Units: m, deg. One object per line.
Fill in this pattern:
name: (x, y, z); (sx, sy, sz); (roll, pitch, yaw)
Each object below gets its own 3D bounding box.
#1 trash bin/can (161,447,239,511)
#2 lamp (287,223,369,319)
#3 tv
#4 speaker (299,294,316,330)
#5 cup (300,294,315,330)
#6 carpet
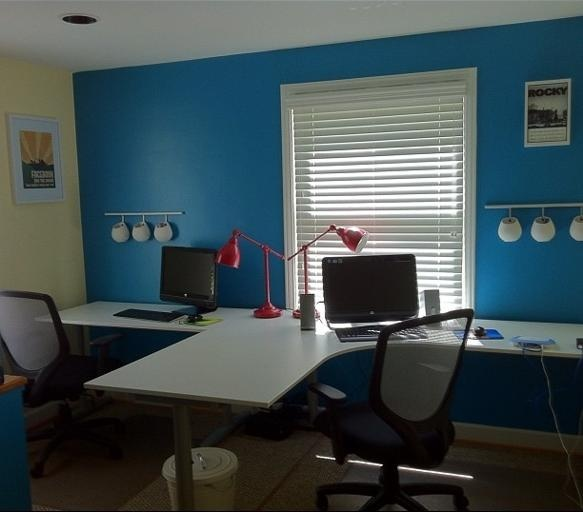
trash bin/can: (-0.443, 0.968, 2.364); (0.348, 0.271, 0.349); (-2, 2, -29)
lamp: (0.196, 0.051, 3.036); (0.448, 0.464, 0.168); (-7, 28, -12)
tv: (-0.658, 0.161, 3.448); (0.502, 0.439, 0.202); (4, 1, 32)
speaker: (0.095, 0.312, 2.862); (0.093, 0.186, 0.092); (-4, -9, 13)
cup: (0.098, 0.313, 2.861); (0.099, 0.193, 0.092); (-1, -3, 0)
carpet: (-0.182, 1.198, 2.819); (0.799, 0.023, 0.867); (-2, -1, 15)
